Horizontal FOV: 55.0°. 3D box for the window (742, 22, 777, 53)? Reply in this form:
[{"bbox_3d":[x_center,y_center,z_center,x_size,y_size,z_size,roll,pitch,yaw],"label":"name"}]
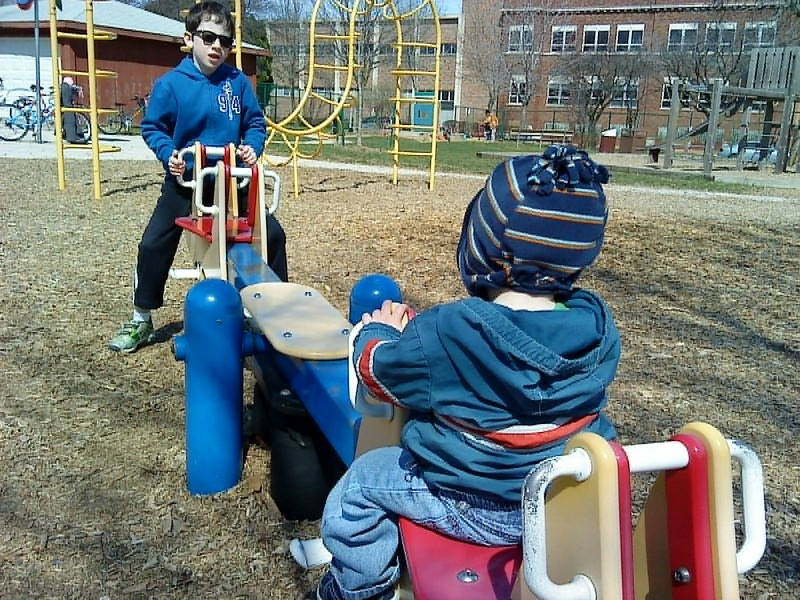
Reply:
[{"bbox_3d":[15.165,-11.152,32.294,1.154,1.035,1.359,9,16,22],"label":"window"}]

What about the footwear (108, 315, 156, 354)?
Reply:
[{"bbox_3d":[-1.651,0.201,4.747,0.136,0.173,0.324,5,14,24],"label":"footwear"}]

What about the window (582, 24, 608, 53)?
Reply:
[{"bbox_3d":[9.693,-13.031,38.007,1.355,1.618,0.123,1,12,11],"label":"window"}]

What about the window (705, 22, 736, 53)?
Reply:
[{"bbox_3d":[12.893,-10.557,30.724,1.194,1.327,5.193,8,17,21],"label":"window"}]

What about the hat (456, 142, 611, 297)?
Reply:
[{"bbox_3d":[0.352,-0.277,2.421,0.333,0.487,0.467,-1,21,-22],"label":"hat"}]

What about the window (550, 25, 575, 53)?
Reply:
[{"bbox_3d":[8.163,-13.168,38.462,1.131,1.356,0.093,3,7,8],"label":"window"}]

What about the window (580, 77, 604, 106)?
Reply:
[{"bbox_3d":[9.000,-9.853,35.906,0.305,1.556,1.287,-1,-4,-23],"label":"window"}]

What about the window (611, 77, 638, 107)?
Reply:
[{"bbox_3d":[10.476,-9.748,35.662,1.365,1.710,0.209,22,38,28],"label":"window"}]

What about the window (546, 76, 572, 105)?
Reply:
[{"bbox_3d":[7.999,-10.596,38.503,1.171,1.616,0.207,5,18,16],"label":"window"}]
